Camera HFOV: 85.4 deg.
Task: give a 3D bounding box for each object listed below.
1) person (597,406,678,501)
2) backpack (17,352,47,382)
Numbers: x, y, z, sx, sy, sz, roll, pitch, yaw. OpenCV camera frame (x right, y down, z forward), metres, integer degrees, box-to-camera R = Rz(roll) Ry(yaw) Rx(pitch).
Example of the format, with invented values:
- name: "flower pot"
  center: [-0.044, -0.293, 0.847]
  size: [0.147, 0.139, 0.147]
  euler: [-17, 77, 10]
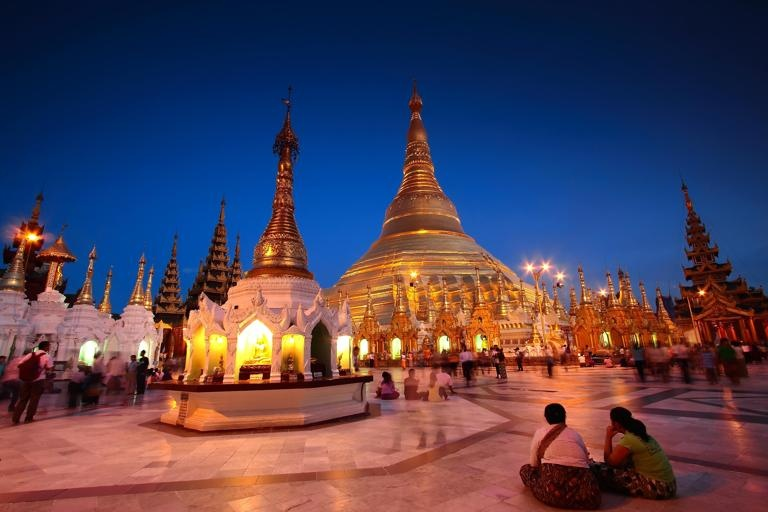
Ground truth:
- name: "person"
  center: [3.777, 3.137, 6.614]
  size: [1.006, 1.221, 1.482]
  euler: [13, -21, -24]
- name: "backpack"
  center: [-8.808, 2.814, 10.483]
  size: [0.548, 0.656, 0.398]
  euler: [2, -5, -40]
